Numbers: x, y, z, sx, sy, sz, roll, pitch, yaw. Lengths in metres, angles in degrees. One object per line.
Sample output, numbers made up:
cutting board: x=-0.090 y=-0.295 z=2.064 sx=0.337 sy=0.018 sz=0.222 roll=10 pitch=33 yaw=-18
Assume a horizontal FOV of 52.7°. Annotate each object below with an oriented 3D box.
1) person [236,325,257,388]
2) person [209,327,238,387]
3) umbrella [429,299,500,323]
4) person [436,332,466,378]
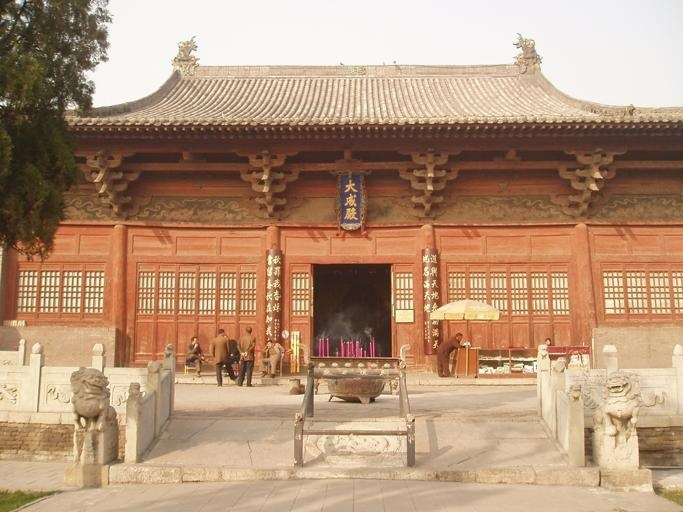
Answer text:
person: x=-2.432 y=2.561 z=17.371 sx=0.446 sy=1.491 sz=0.678 roll=-2 pitch=10 yaw=-9
person: x=-3.055 y=2.620 z=17.813 sx=0.625 sy=1.438 sz=1.695 roll=-1 pitch=9 yaw=-6
umbrella: x=3.166 y=1.431 z=17.794 sx=1.719 sy=0.550 sz=0.612 roll=1 pitch=9 yaw=9
person: x=2.821 y=2.617 z=18.127 sx=0.496 sy=1.063 sz=0.872 roll=7 pitch=12 yaw=38
